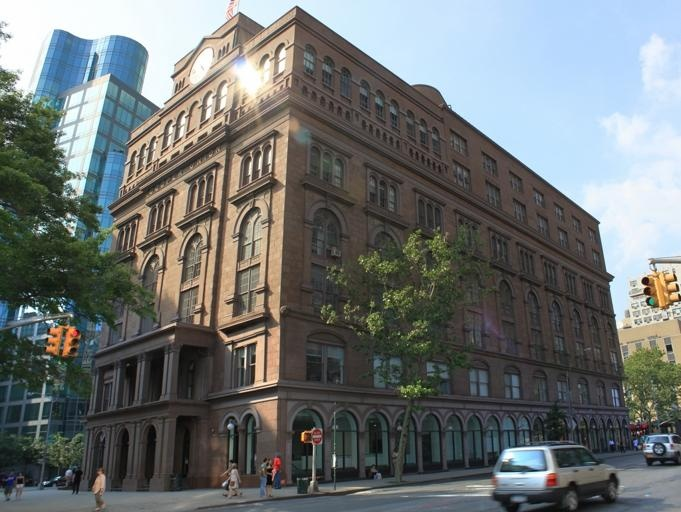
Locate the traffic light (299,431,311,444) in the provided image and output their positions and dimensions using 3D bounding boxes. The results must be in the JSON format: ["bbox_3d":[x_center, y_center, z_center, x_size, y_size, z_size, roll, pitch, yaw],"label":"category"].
[{"bbox_3d":[-2.043,10.842,31.065,0.476,0.658,2.297,0,-24,-9],"label":"traffic light"}]

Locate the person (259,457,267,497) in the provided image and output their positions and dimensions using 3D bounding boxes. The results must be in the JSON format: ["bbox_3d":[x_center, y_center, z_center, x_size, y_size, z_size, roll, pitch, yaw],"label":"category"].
[{"bbox_3d":[-4.460,12.925,30.064,0.386,1.954,0.912,-3,-24,-4],"label":"person"}]

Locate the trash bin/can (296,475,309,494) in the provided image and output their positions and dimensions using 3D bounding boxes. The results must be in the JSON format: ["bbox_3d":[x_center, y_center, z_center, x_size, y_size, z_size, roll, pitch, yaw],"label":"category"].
[{"bbox_3d":[-2.254,13.778,30.958,0.610,0.835,0.944,-1,-24,-7],"label":"trash bin/can"}]

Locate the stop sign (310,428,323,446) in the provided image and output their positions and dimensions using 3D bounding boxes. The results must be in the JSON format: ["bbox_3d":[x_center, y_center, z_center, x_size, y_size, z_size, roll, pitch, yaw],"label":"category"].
[{"bbox_3d":[-1.415,10.571,30.404,0.609,0.854,1.584,-1,-24,-8],"label":"stop sign"}]

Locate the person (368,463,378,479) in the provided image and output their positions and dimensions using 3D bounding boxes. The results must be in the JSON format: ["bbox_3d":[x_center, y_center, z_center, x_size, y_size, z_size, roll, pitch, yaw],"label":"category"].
[{"bbox_3d":[2.513,16.203,38.769,0.582,0.957,1.309,3,-25,-15],"label":"person"}]
